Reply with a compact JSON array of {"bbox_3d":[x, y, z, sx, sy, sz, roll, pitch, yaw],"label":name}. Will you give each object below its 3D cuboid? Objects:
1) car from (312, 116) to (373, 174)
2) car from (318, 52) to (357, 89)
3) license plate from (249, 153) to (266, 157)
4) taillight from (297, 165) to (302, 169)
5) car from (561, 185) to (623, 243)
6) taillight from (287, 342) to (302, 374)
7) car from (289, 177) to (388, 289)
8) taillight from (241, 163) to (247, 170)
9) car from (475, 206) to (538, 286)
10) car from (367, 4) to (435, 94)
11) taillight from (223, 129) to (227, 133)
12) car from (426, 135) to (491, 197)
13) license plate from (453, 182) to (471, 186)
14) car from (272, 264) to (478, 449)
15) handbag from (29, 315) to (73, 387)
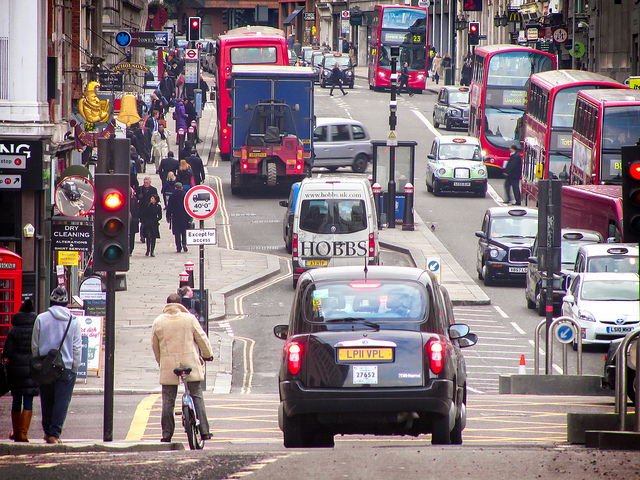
[{"bbox_3d":[0.692,-3.251,59.916,2.137,1.291,1.326,0,6,-14],"label":"car"},{"bbox_3d":[0.916,-8.859,94.286,1.796,2.238,3.748,0,0,-1],"label":"car"},{"bbox_3d":[-1.905,-2.575,53.743,0.497,0.123,0.113,-1,7,-4],"label":"license plate"},{"bbox_3d":[-0.610,-2.220,53.853,0.149,0.119,0.050,-5,8,-36],"label":"taillight"},{"bbox_3d":[6.840,-0.653,44.354,1.131,1.761,3.348,0,2,-10],"label":"car"},{"bbox_3d":[-0.410,1.941,28.601,0.273,0.679,0.064,3,-36,-2],"label":"taillight"},{"bbox_3d":[0.373,-0.509,43.168,1.500,1.586,2.730,0,6,1],"label":"car"},{"bbox_3d":[-2.318,-2.238,53.986,0.129,0.153,0.085,-4,3,8],"label":"taillight"},{"bbox_3d":[5.069,0.220,46.251,1.728,2.160,3.625,4,3,-3],"label":"car"},{"bbox_3d":[3.895,-9.108,84.480,2.867,4.135,9.183,0,7,2],"label":"car"},{"bbox_3d":[-3.295,-3.761,60.933,0.071,0.083,0.141,0,8,-1],"label":"taillight"},{"bbox_3d":[4.625,-2.385,58.304,1.891,2.102,3.877,1,3,0],"label":"car"},{"bbox_3d":[4.584,-1.778,56.532,0.541,0.108,0.064,0,6,5],"label":"license plate"},{"bbox_3d":[0.794,2.034,28.832,2.881,2.910,1.032,-1,6,-4],"label":"car"},{"bbox_3d":[-4.687,1.913,30.447,0.626,1.422,0.652,-11,-22,43],"label":"handbag"}]
